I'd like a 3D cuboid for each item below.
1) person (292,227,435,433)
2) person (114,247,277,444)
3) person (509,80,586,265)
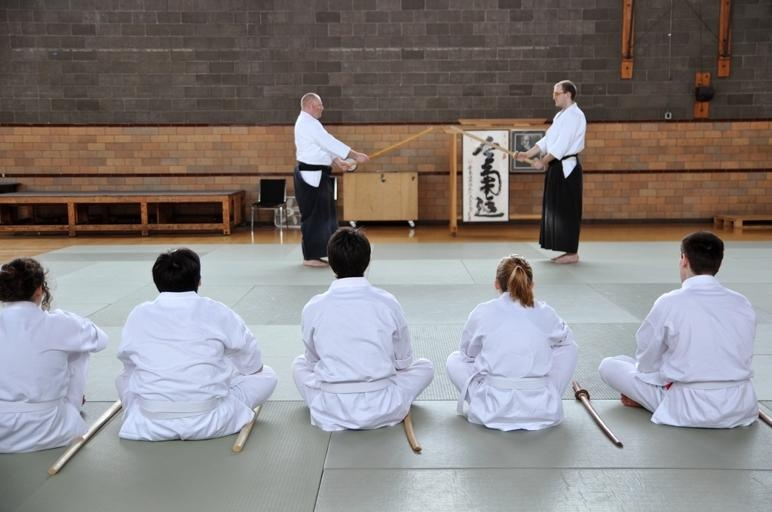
[{"bbox_3d":[-0.190,0.569,5.314,1.376,1.583,0.930,1,14,3],"label":"person"},{"bbox_3d":[-1.145,0.557,4.878,1.389,1.370,1.056,3,13,1],"label":"person"},{"bbox_3d":[2.066,-1.014,8.679,0.641,2.176,0.791,0,13,12],"label":"person"}]
